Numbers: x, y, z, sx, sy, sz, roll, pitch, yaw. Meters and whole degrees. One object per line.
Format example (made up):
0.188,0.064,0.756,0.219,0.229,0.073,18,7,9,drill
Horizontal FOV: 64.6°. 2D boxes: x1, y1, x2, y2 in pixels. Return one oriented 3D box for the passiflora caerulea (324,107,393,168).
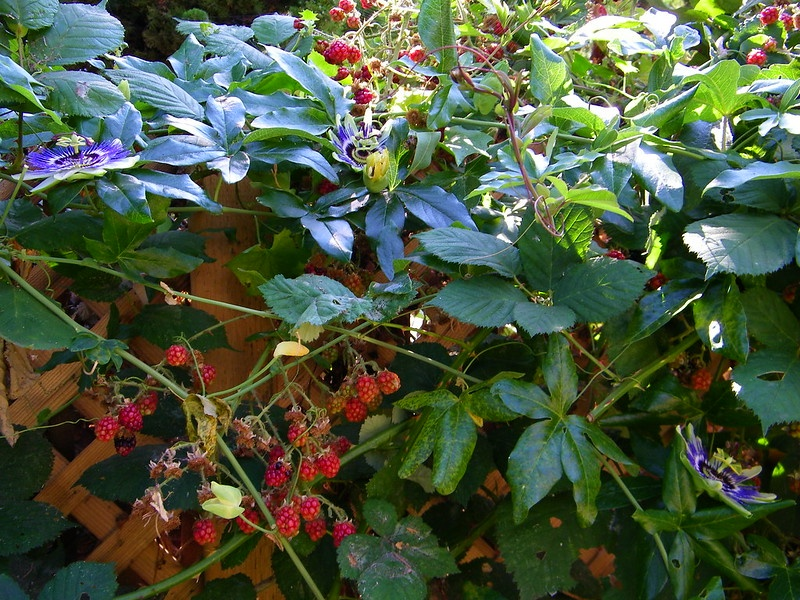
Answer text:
-0.085,-0.298,1.231,0.128,0.119,0.058,11,-17,-14,passiflora caerulea
